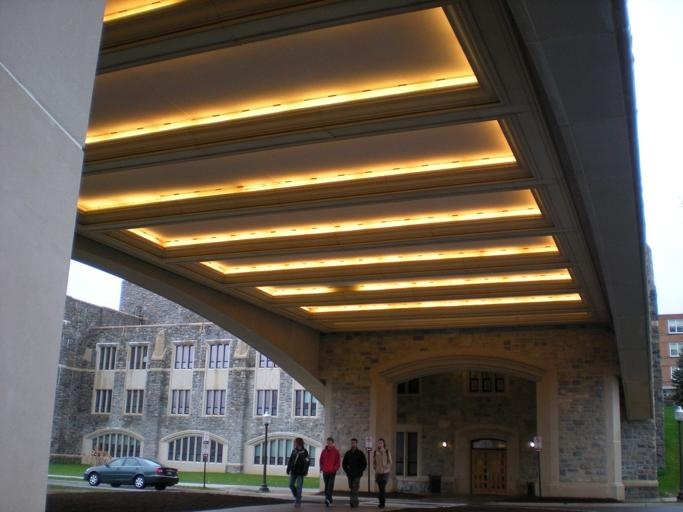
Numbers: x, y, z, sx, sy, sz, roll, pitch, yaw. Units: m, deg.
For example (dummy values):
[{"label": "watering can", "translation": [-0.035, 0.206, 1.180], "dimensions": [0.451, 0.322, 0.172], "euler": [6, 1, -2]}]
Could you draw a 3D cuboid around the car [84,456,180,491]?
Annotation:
[{"label": "car", "translation": [-9.100, 9.471, 27.370], "dimensions": [3.885, 1.277, 1.304], "euler": [-6, -20, 18]}]
